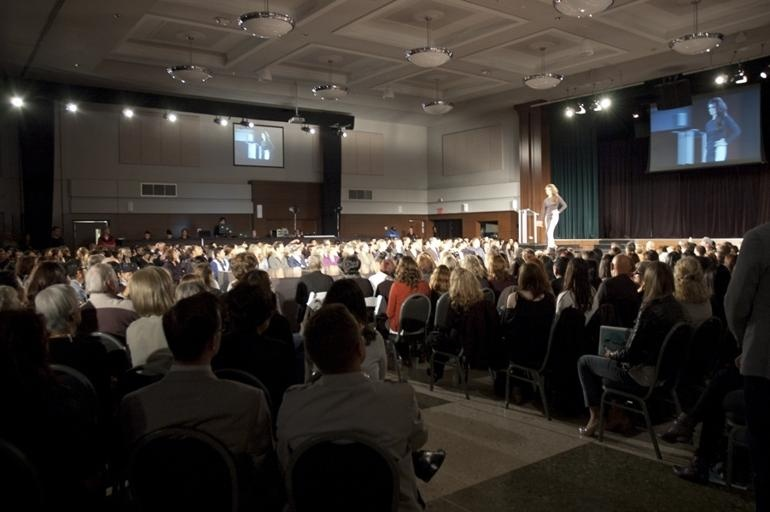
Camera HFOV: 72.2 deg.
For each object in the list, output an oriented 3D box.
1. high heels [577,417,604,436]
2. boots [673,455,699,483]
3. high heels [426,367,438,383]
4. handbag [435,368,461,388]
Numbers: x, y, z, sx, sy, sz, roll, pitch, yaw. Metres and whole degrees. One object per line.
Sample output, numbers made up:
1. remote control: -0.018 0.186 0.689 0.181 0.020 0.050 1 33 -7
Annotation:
1. high heels: 2.013 1.673 5.209 0.255 0.175 0.136 -1 -3 -8
2. boots: 2.563 1.807 4.513 0.274 0.209 0.099 -2 -7 33
3. high heels: 0.568 1.486 6.562 0.126 0.208 0.223 -3 -10 -3
4. handbag: 0.833 1.591 6.876 0.298 0.087 0.319 -1 0 -37
